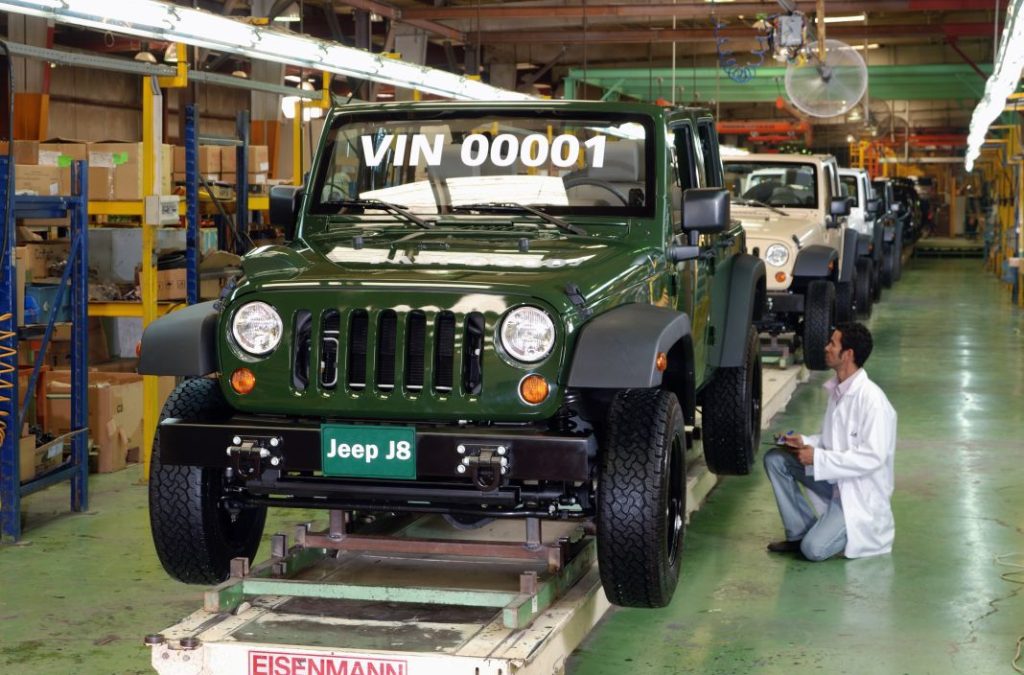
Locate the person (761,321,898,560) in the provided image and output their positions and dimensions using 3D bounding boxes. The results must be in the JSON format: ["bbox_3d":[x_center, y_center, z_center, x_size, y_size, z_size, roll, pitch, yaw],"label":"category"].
[{"bbox_3d":[2.198,0.702,6.520,0.832,1.561,0.638,-1,5,21],"label":"person"}]

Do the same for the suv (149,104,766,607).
[{"bbox_3d":[0.067,-0.279,6.385,2.226,1.864,3.878,0,3,14],"label":"suv"}]

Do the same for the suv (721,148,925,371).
[{"bbox_3d":[3.998,-1.292,13.714,2.607,2.395,4.758,0,2,22],"label":"suv"}]
